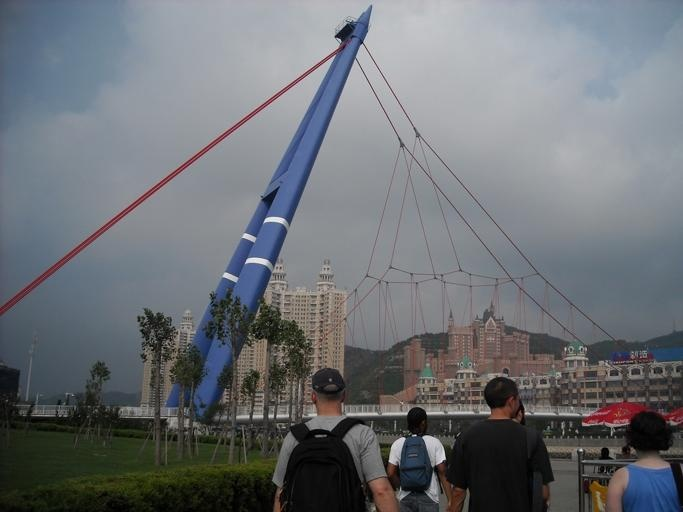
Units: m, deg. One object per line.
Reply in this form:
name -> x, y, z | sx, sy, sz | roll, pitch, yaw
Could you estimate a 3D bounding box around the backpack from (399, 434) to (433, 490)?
backpack -> 1.014, 2.782, 8.496 | 0.473, 0.770, 0.416 | -3, -36, 11
